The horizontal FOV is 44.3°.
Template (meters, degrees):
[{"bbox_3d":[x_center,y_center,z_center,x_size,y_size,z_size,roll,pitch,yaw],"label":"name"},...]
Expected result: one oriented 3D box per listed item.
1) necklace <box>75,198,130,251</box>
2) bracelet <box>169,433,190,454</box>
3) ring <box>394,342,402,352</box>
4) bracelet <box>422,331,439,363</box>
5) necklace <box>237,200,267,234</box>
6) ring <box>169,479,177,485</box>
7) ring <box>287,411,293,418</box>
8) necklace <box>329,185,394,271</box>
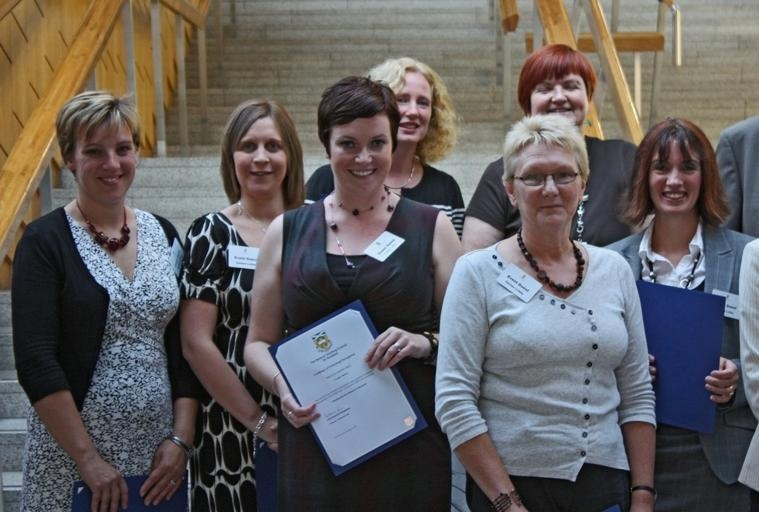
[{"bbox_3d":[-1.308,-0.149,4.408,0.188,0.268,0.060,-17,-17,-46],"label":"necklace"},{"bbox_3d":[-0.931,0.873,4.373,0.094,0.034,0.081,29,-12,3],"label":"bracelet"},{"bbox_3d":[0.076,0.390,3.992,0.028,0.034,0.033,-1,-15,0],"label":"ring"},{"bbox_3d":[0.230,0.391,4.061,0.079,0.117,0.116,6,-19,-27],"label":"bracelet"},{"bbox_3d":[-0.642,-0.177,4.584,0.140,0.182,0.084,-1,-27,-32],"label":"necklace"},{"bbox_3d":[-0.955,1.042,4.286,0.022,0.016,0.007,40,-21,-22],"label":"ring"},{"bbox_3d":[-0.389,0.681,4.017,0.022,0.021,0.022,-7,-7,-1],"label":"ring"},{"bbox_3d":[-0.082,-0.111,4.112,0.266,0.313,0.172,-23,-9,-4],"label":"necklace"}]
